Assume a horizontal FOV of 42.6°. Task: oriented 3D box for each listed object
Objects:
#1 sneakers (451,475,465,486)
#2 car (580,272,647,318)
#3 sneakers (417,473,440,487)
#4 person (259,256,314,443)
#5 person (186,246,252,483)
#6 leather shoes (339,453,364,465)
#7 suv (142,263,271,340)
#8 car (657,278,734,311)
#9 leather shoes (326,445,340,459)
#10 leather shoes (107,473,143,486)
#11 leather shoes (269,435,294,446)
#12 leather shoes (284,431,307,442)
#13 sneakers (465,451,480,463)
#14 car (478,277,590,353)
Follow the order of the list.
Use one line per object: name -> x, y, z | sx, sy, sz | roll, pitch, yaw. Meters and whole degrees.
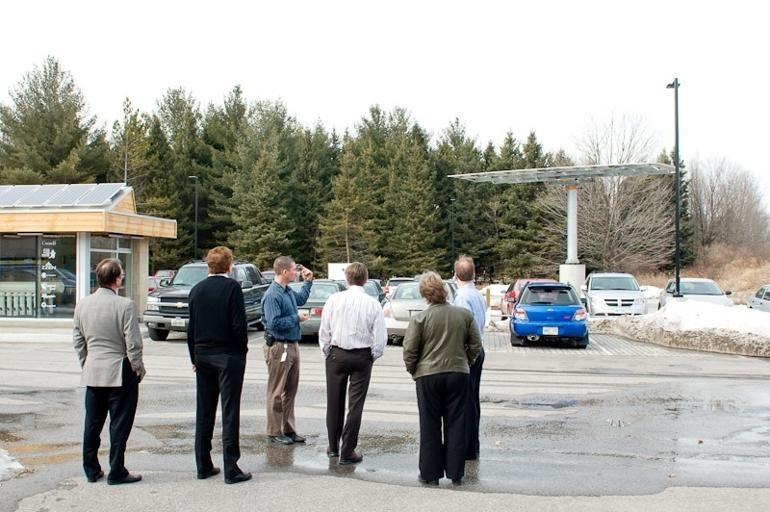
sneakers -> 1.470, 4.469, 19.626 | 0.251, 0.238, 0.149 | 0, -15, 6
car -> 8.474, 1.470, 36.752 | 1.345, 1.244, 2.396 | -1, -10, 5
sneakers -> 0.884, 4.424, 19.597 | 0.437, 0.172, 0.263 | 1, 11, 4
person -> -2.097, 1.928, 21.015 | 0.915, 3.850, 1.301 | 0, 11, 2
person -> -3.315, 2.133, 19.723 | 1.143, 4.483, 1.482 | -2, 11, -12
leather shoes -> -0.664, 4.111, 20.131 | 0.466, 0.217, 0.203 | -3, -1, -15
suv -> -5.954, 1.367, 32.560 | 2.611, 2.139, 4.424 | -2, -5, 14
car -> 12.161, 1.139, 38.689 | 1.774, 1.470, 3.921 | 0, -9, 8
leather shoes -> -1.064, 4.009, 20.359 | 0.238, 0.232, 0.277 | -1, 11, -6
leather shoes -> -5.109, 4.404, 19.501 | 0.677, 0.296, 0.254 | -3, -3, -10
leather shoes -> -2.167, 3.860, 20.760 | 0.463, 0.193, 0.204 | -4, -5, 17
leather shoes -> -1.888, 3.825, 20.906 | 0.496, 0.212, 0.183 | -1, -3, 5
sneakers -> 1.823, 4.135, 20.349 | 0.207, 0.211, 0.367 | -2, -8, 9
car -> 4.869, 1.913, 31.377 | 1.875, 1.630, 3.846 | 0, 3, 5
